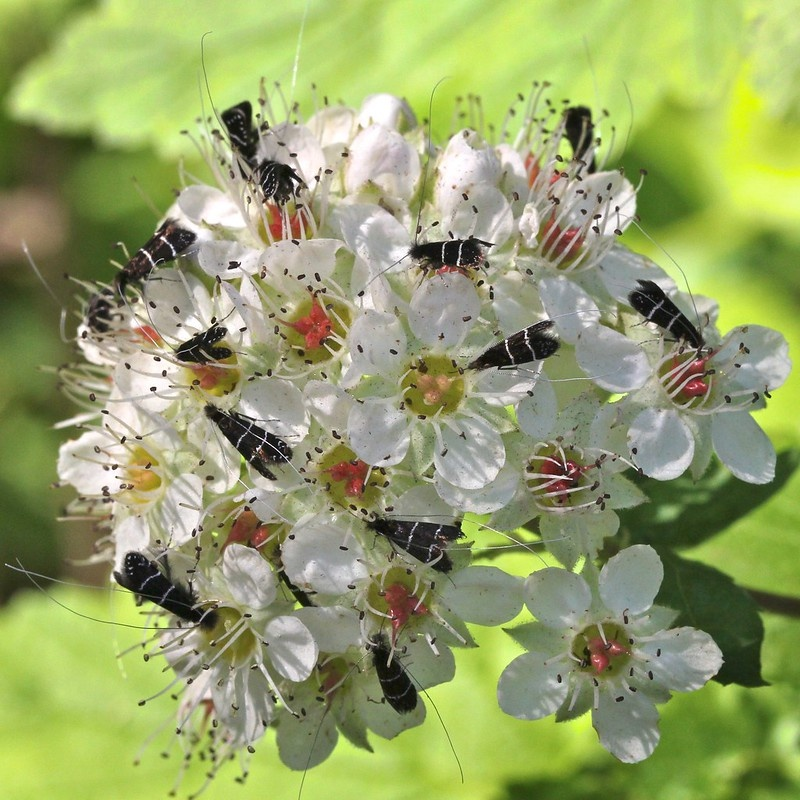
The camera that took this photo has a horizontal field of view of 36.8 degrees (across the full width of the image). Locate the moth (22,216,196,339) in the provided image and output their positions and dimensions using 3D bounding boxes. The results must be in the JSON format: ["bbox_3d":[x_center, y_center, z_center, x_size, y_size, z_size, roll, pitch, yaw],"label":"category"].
[{"bbox_3d":[-0.741,-0.326,3.140,0.361,0.117,0.262,-50,32,18],"label":"moth"}]

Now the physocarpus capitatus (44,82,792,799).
[{"bbox_3d":[-0.152,0.159,3.630,1.926,1.146,1.821,-33,82,-14],"label":"physocarpus capitatus"}]

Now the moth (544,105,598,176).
[{"bbox_3d":[0.481,-0.739,3.351,0.099,0.063,0.207,-11,93,10],"label":"moth"}]

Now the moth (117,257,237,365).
[{"bbox_3d":[-0.497,-0.216,3.095,0.286,0.099,0.254,39,123,21],"label":"moth"}]

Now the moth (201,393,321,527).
[{"bbox_3d":[-0.336,0.094,2.919,0.212,0.061,0.158,46,125,16],"label":"moth"}]

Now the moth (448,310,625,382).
[{"bbox_3d":[0.285,-0.126,2.789,0.216,0.063,0.080,-23,85,30],"label":"moth"}]

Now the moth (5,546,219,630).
[{"bbox_3d":[-0.636,0.469,2.941,0.336,0.274,0.110,20,87,-23],"label":"moth"}]
